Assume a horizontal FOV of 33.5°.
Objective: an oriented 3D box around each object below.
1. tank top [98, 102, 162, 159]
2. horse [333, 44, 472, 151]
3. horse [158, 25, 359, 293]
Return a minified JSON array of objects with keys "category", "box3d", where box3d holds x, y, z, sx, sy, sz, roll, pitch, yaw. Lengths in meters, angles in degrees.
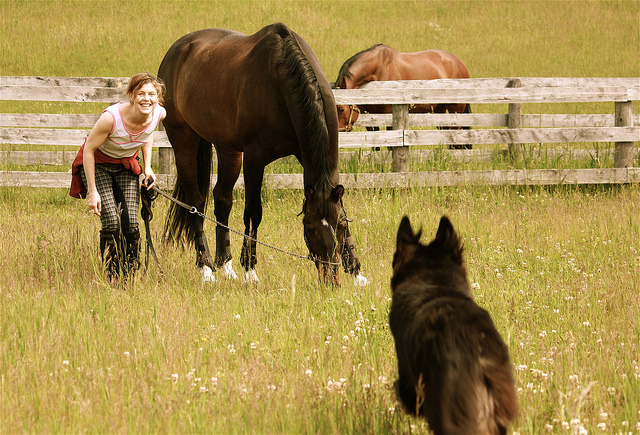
[{"category":"tank top","box3d":[-4.145,-2.080,23.708,0.975,1.411,0.882,1,53,-23]},{"category":"horse","box3d":[2.773,-3.400,32.211,5.710,3.913,1.656,-8,5,-32]},{"category":"horse","box3d":[-1.663,-1.596,24.864,2.741,5.587,5.508,-13,19,-41]}]
